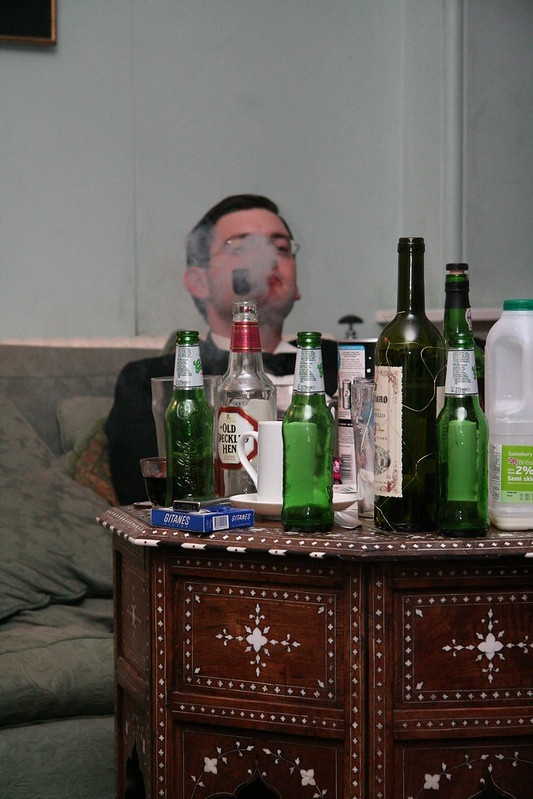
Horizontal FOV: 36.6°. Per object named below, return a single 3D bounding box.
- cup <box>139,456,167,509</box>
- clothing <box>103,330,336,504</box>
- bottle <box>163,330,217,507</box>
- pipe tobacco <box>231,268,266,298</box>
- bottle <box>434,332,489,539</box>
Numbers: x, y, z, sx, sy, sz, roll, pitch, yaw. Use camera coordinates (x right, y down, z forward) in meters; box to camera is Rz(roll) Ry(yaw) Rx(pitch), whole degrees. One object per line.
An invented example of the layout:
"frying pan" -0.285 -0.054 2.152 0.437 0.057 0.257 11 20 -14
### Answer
"cup" -0.150 0.123 1.159 0.062 0.066 0.060 -1 3 0
"clothing" -0.092 0.040 2.036 0.516 0.346 0.407 0 1 10
"bottle" -0.107 0.025 1.076 0.067 0.198 0.091 -4 1 -3
"pipe tobacco" -0.049 -0.293 2.035 0.078 0.073 0.074 1 -4 -3
"bottle" 0.214 0.041 0.891 0.058 0.158 0.052 -3 1 12
